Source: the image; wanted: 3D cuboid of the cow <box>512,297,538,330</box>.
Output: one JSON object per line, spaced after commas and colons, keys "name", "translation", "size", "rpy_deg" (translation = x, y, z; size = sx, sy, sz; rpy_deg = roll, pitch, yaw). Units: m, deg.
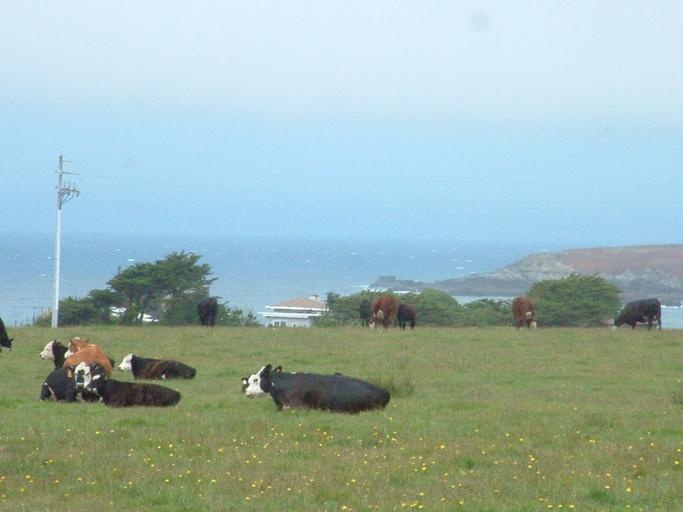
{"name": "cow", "translation": [8.790, 3.020, 69.553], "size": [0.925, 1.415, 1.515], "rpy_deg": [0, 14, -1]}
